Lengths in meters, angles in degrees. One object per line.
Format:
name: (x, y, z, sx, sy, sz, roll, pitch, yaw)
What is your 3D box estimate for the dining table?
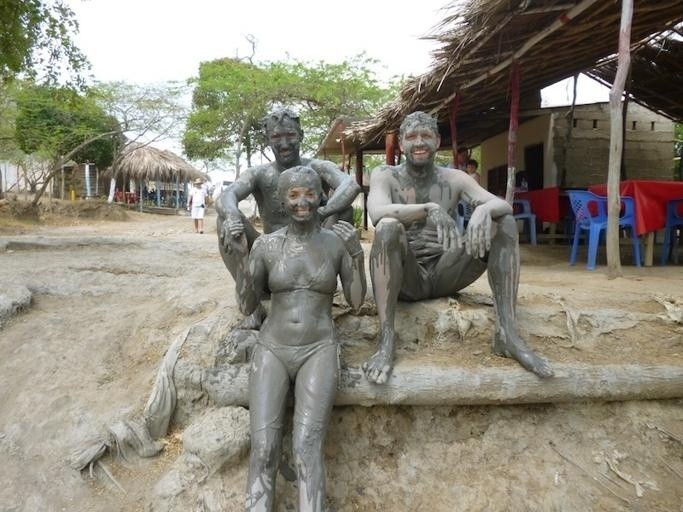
dining table: (3.483, -0.697, 8.301, 0.954, 1.006, 1.006, 1, 3, 1)
